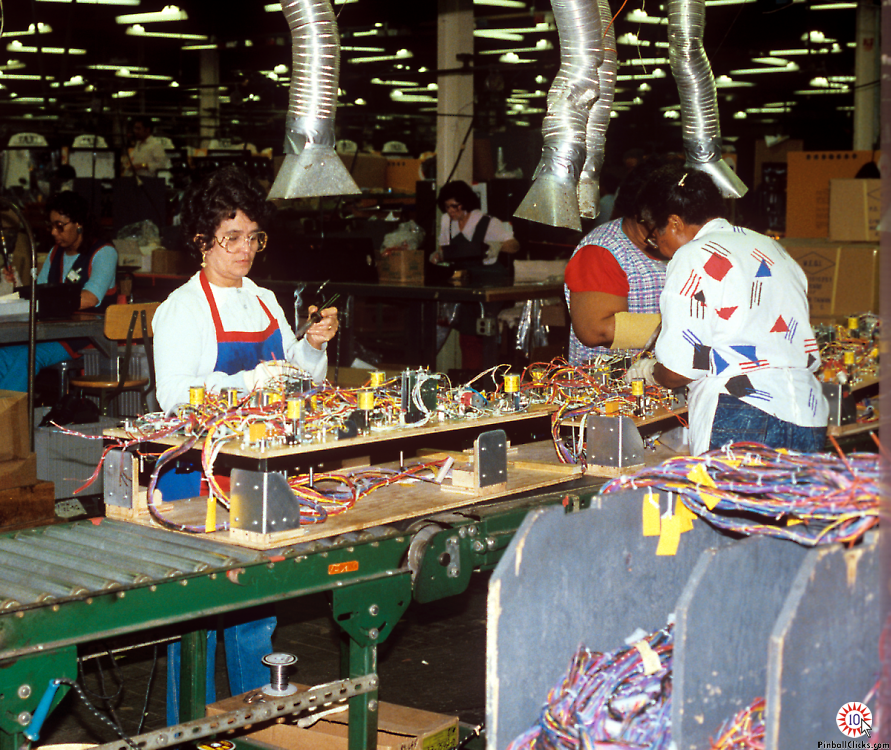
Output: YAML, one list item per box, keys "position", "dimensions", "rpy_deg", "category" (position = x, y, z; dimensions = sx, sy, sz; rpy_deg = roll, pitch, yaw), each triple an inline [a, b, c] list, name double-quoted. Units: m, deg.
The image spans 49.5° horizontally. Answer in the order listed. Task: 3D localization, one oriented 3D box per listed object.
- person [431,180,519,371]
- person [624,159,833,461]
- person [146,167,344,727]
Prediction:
- position: [0.285, -0.864, 8.674]
  dimensions: [0.737, 1.767, 1.417]
  rpy_deg: [-1, 10, 0]
  category: "person"
- position: [0.907, -0.193, 3.067]
  dimensions: [0.592, 0.921, 0.512]
  rpy_deg: [3, 11, 22]
  category: "person"
- position: [-0.676, 0.257, 3.348]
  dimensions: [0.662, 1.914, 0.736]
  rpy_deg: [-3, 11, -10]
  category: "person"
